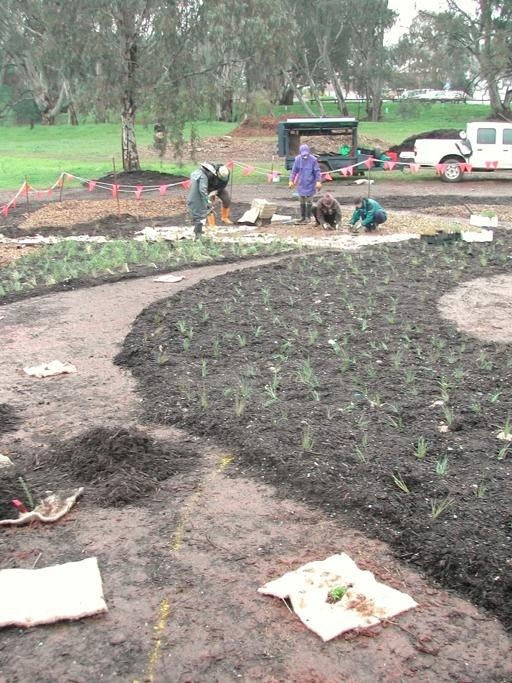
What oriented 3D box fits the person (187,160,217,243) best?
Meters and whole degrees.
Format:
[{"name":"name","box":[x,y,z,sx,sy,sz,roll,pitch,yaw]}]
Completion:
[{"name":"person","box":[-1.047,-2.773,11.730,0.590,1.459,1.338,-4,10,-3]}]

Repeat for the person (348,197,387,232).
[{"name":"person","box":[2.148,-2.440,11.463,0.650,0.632,1.034,-2,10,6]}]

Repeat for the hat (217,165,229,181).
[{"name":"hat","box":[-0.639,-3.329,11.708,0.200,0.274,0.423,-3,10,2]}]

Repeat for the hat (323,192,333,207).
[{"name":"hat","box":[1.393,-2.727,11.445,0.174,0.279,0.144,8,13,7]}]
